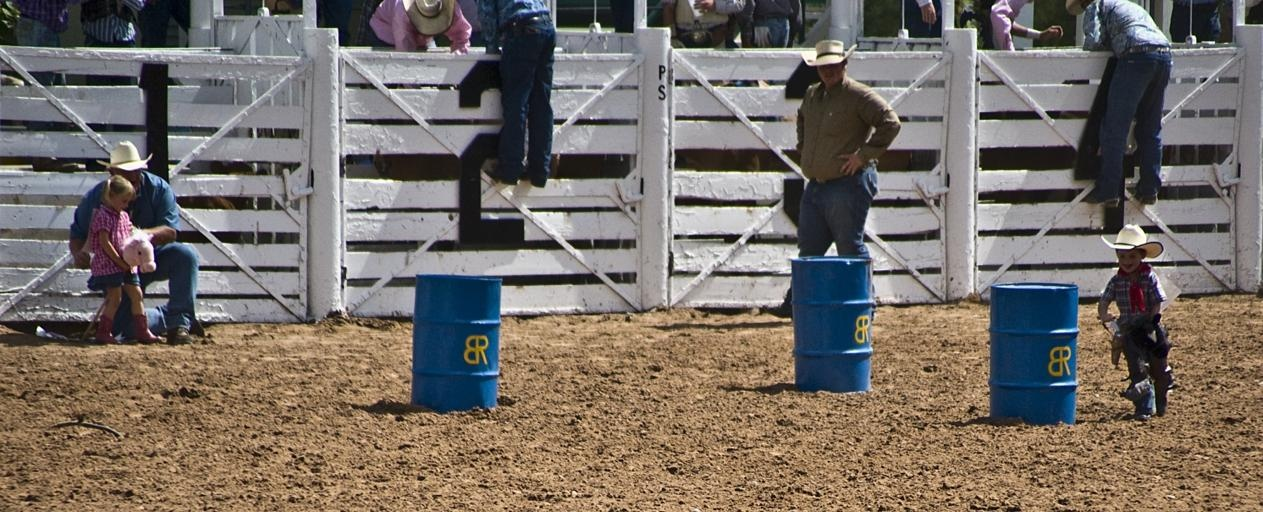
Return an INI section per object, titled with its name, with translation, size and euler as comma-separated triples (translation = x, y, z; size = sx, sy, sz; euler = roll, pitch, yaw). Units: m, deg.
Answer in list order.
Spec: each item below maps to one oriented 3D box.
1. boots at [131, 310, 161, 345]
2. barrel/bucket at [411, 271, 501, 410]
[boots]
translation = -8.666, 1.369, 53.605
size = 0.596, 0.530, 0.281
euler = 10, -16, -31
[barrel/bucket]
translation = -3.057, 1.622, 52.525
size = 2.275, 3.107, 2.122
euler = 1, -3, 0
